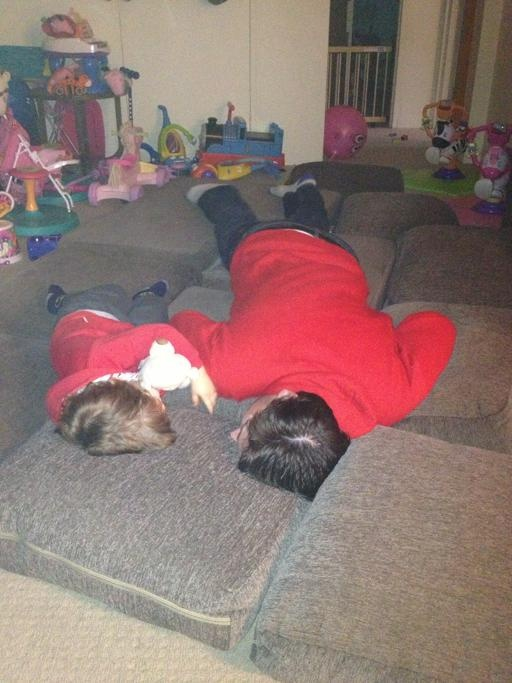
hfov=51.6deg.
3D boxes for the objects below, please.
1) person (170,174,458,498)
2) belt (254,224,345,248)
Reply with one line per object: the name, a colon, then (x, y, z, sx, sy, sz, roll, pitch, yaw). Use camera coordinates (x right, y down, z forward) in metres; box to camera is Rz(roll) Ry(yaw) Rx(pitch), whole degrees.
person: (0.101, -0.032, 1.202, 0.445, 0.260, 0.765, 0, 51, 1)
belt: (0.125, -0.307, 1.469, 0.150, 0.052, 0.113, 30, 29, 20)
